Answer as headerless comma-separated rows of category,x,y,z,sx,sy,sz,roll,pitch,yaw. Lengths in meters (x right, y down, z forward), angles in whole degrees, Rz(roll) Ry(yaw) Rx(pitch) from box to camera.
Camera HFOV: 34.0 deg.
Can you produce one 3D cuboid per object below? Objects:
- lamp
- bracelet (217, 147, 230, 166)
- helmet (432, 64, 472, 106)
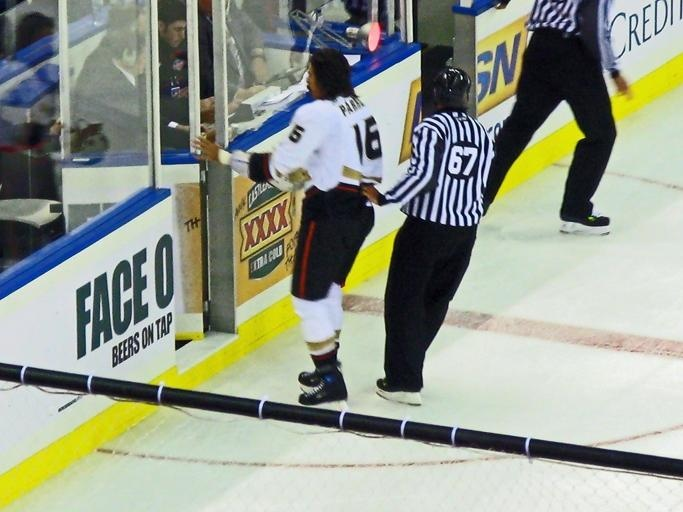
lamp,-0.064,-1.307,6.548,0.467,0.197,0.297,9,21,13
bracelet,-0.595,-0.507,5.669,0.078,0.069,0.022,24,14,36
helmet,0.565,-0.841,5.643,0.168,0.201,0.211,4,-9,7
